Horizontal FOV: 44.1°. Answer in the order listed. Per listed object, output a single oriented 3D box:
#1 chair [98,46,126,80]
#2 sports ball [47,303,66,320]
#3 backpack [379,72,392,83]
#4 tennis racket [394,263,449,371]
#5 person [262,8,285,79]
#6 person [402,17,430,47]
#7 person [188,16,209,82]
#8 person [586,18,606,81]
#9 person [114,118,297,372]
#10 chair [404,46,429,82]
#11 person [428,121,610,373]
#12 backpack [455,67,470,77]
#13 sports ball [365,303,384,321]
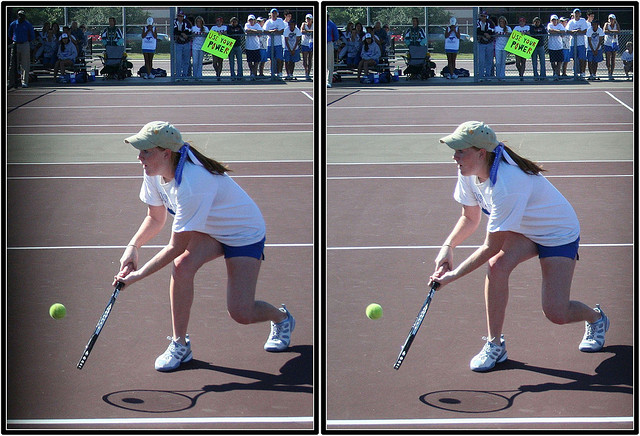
[{"bbox_3d":[-5.929,-4.474,22.566,0.809,1.068,0.719,-2,-2,3],"label":"chair"},{"bbox_3d":[-2.212,0.788,6.623,0.100,0.166,0.264,-5,9,-23],"label":"sports ball"},{"bbox_3d":[1.818,-3.933,22.228,0.273,0.279,0.212,6,16,2],"label":"backpack"},{"bbox_3d":[0.875,0.626,6.423,0.224,0.093,1.678,29,38,0],"label":"tennis racket"},{"bbox_3d":[-1.250,-4.822,21.425,0.576,1.585,1.670,-2,8,-2],"label":"person"},{"bbox_3d":[2.541,-4.956,20.938,0.574,0.794,2.037,0,8,7],"label":"person"},{"bbox_3d":[-3.290,-4.637,21.556,0.528,1.507,2.063,-2,8,-7],"label":"person"},{"bbox_3d":[7.423,-4.526,21.282,0.448,1.552,1.762,1,8,20],"label":"person"},{"bbox_3d":[-0.968,0.231,6.422,1.369,2.023,0.671,-3,8,-12],"label":"person"},{"bbox_3d":[2.708,-4.353,21.973,0.568,0.771,0.571,-1,23,7],"label":"chair"},{"bbox_3d":[1.577,0.239,6.395,1.425,2.033,0.728,-1,8,1],"label":"person"},{"bbox_3d":[4.195,-4.296,23.362,0.280,0.114,0.290,3,31,0],"label":"backpack"},{"bbox_3d":[0.452,0.780,6.655,0.176,0.183,0.177,-1,7,0],"label":"sports ball"}]
